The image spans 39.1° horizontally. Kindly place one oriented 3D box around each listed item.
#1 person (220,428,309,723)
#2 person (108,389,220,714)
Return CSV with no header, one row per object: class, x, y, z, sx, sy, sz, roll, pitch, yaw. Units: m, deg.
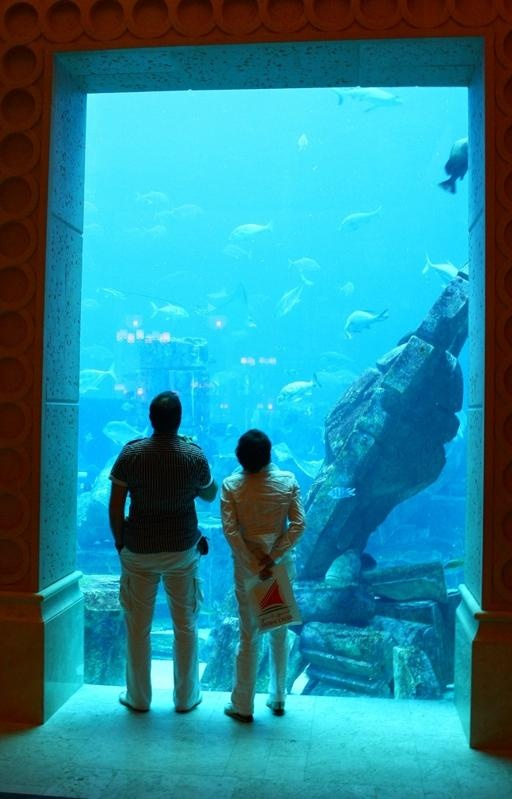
person,0.029,0.942,3.916,0.445,1.554,0.380,-6,11,-40
person,-0.499,0.846,3.895,0.553,1.744,0.256,1,8,-4
